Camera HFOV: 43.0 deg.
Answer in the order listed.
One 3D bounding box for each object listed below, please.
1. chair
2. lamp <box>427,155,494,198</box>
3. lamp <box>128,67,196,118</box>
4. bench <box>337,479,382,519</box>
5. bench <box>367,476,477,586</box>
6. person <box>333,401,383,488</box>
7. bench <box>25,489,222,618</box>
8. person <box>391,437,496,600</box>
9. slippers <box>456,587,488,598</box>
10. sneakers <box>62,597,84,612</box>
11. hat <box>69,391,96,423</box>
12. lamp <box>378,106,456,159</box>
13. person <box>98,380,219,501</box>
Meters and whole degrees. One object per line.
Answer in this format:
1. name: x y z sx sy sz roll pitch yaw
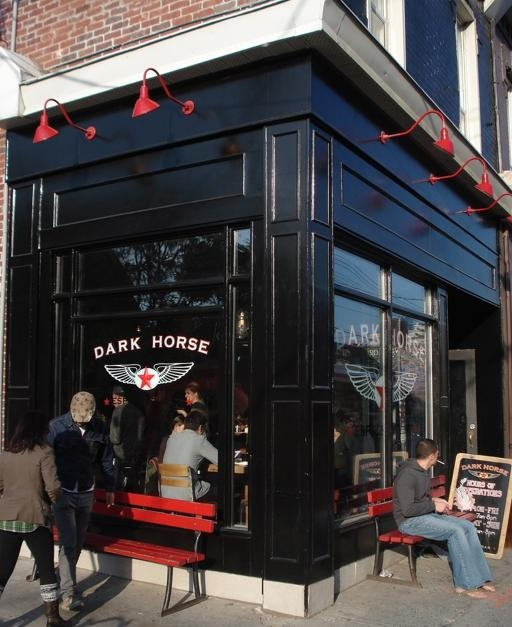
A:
1. chair: -0.651 1.593 5.956 0.408 0.819 0.479 -5 -3 35
2. lamp: 2.626 -1.805 8.405 0.864 0.323 0.552 11 -36 26
3. lamp: -0.849 -2.031 5.988 0.563 0.432 0.249 -12 18 -36
4. bench: 1.020 1.867 6.515 0.103 0.275 1.125 -1 -9 27
5. bench: 1.570 2.277 6.833 0.415 0.847 1.459 -4 -11 23
6. person: 1.038 1.374 6.679 0.247 0.767 1.247 0 -8 21
7. bench: -1.147 2.077 5.721 1.406 0.907 0.525 -2 -9 29
8. person: 1.758 1.892 6.196 0.985 1.319 0.405 -3 -8 38
9. slippers: 1.930 2.493 5.787 0.274 0.048 0.252 1 -8 15
10. sneakers: -1.451 2.298 5.173 0.079 0.113 0.200 8 -13 -44
11. hat: -1.426 0.774 5.450 0.177 0.272 0.248 4 25 -28
12. lamp: 1.713 -1.911 6.823 0.754 0.557 0.311 12 -12 9
13. person: -0.784 1.237 6.378 0.817 1.478 1.031 -6 -12 35
